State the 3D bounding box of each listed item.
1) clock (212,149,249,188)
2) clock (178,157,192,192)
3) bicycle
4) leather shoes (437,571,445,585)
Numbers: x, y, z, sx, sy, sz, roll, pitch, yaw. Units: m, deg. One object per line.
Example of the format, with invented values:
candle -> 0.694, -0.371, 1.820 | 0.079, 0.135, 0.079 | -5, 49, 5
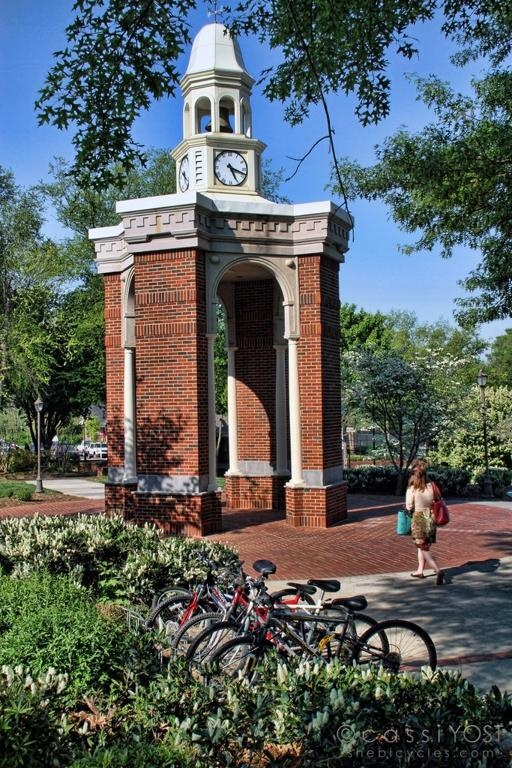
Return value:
clock -> -0.542, -4.356, 16.091 | 0.868, 0.816, 0.085 | -2, 3, -9
clock -> -1.483, -4.374, 16.609 | 0.075, 0.751, 0.981 | 0, -5, -18
bicycle -> 0.227, 1.783, 5.949 | 2.162, 1.057, 0.990 | 2, -16, 3
leather shoes -> 2.332, 2.418, 10.029 | 0.091, 0.174, 0.173 | 2, -5, -3
